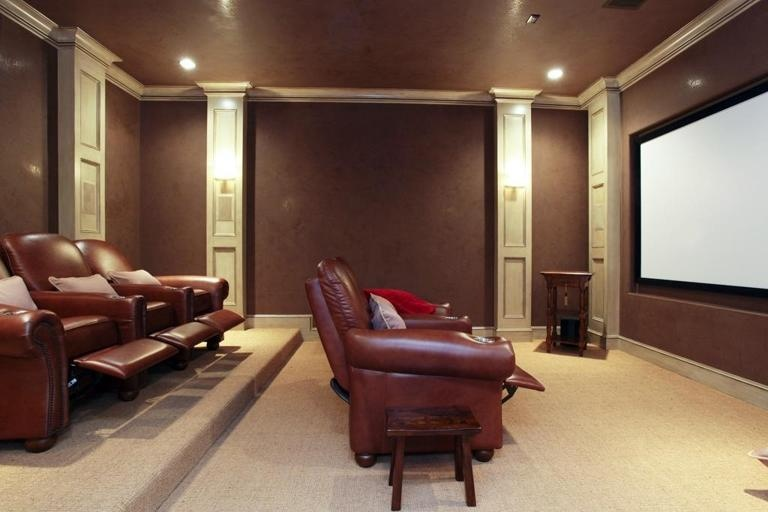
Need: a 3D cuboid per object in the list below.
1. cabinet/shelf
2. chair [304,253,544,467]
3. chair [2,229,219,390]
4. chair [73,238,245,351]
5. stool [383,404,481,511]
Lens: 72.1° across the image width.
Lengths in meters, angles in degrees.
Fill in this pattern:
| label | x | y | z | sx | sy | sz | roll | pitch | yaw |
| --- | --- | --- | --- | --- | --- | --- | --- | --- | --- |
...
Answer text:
| label | x | y | z | sx | sy | sz | roll | pitch | yaw |
| --- | --- | --- | --- | --- | --- | --- | --- | --- | --- |
| cabinet/shelf | 2.401 | 0.701 | 6.970 | 0.916 | 1.308 | 0.884 | 0 | -1 | 22 |
| chair | 0.205 | 0.681 | 4.512 | 1.654 | 1.311 | 1.677 | -1 | 0 | -6 |
| chair | -2.476 | 0.460 | 5.127 | 1.411 | 1.024 | 1.444 | 0 | -2 | -1 |
| chair | -2.319 | 0.420 | 5.390 | 1.418 | 1.111 | 1.224 | 1 | -1 | -2 |
| stool | 0.341 | 1.419 | 3.784 | 0.653 | 0.577 | 0.684 | 0 | -3 | -1 |
